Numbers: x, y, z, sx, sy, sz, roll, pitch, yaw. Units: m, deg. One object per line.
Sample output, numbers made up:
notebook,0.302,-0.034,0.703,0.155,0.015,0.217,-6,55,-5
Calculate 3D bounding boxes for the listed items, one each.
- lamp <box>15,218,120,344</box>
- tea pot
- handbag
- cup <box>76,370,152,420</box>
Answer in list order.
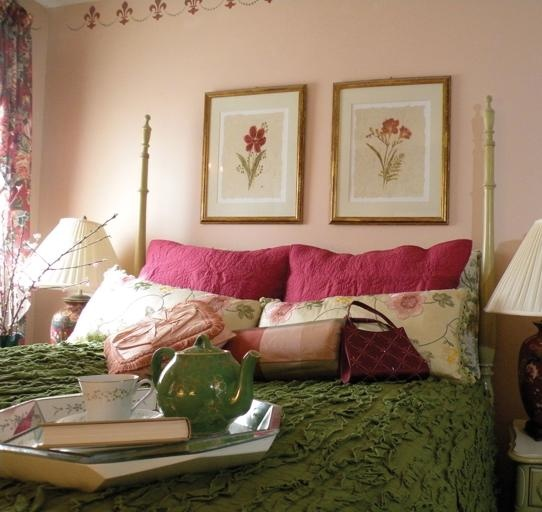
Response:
lamp,-0.956,0.056,2.676,0.532,0.551,0.472,3,-15,-3
tea pot,-0.122,0.222,0.864,0.202,0.119,0.139,-2,-4,37
handbag,0.366,0.285,1.553,0.253,0.115,0.273,6,35,-11
cup,-0.272,0.241,0.845,0.113,0.050,0.077,4,-9,-27
